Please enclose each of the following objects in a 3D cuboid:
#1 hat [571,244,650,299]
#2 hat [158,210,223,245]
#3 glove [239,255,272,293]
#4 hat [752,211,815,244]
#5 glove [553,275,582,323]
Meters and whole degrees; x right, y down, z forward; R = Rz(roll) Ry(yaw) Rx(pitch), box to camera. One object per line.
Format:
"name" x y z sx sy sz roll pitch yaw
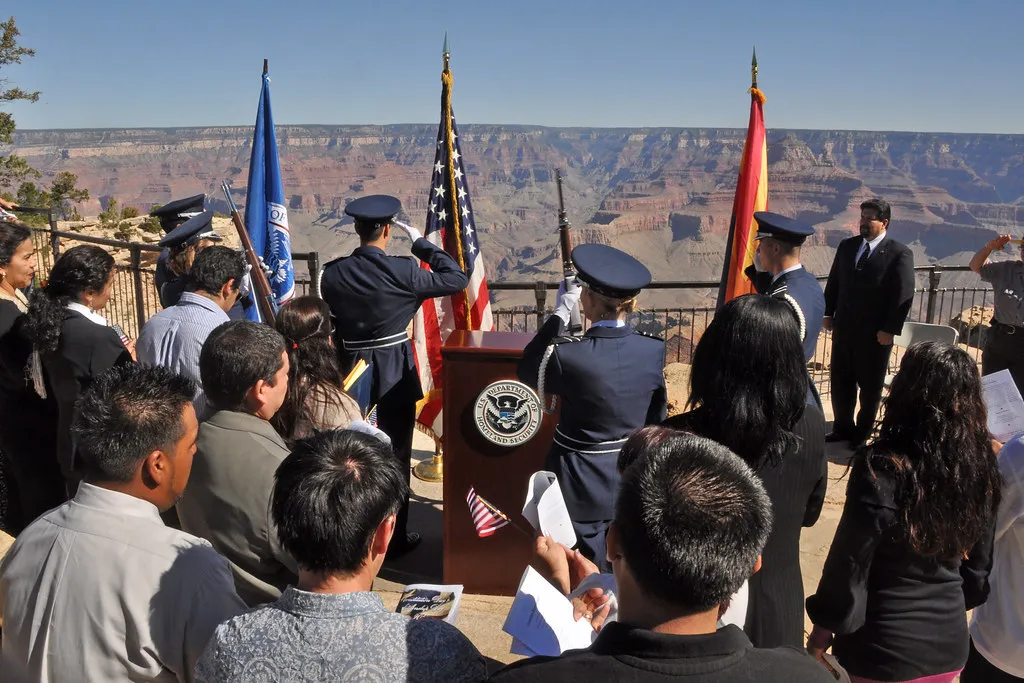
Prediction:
"hat" 0.571 -0.421 5.400 0.469 0.302 0.414 3 7 7
"hat" -2.421 -0.779 6.798 0.285 0.170 0.356 12 31 43
"glove" -1.906 -0.489 6.690 0.146 0.097 0.508 17 41 -21
"hat" 1.995 -0.852 6.775 0.312 0.099 0.288 24 23 37
"glove" 0.335 -0.262 5.534 0.193 0.285 0.093 -3 6 -28
